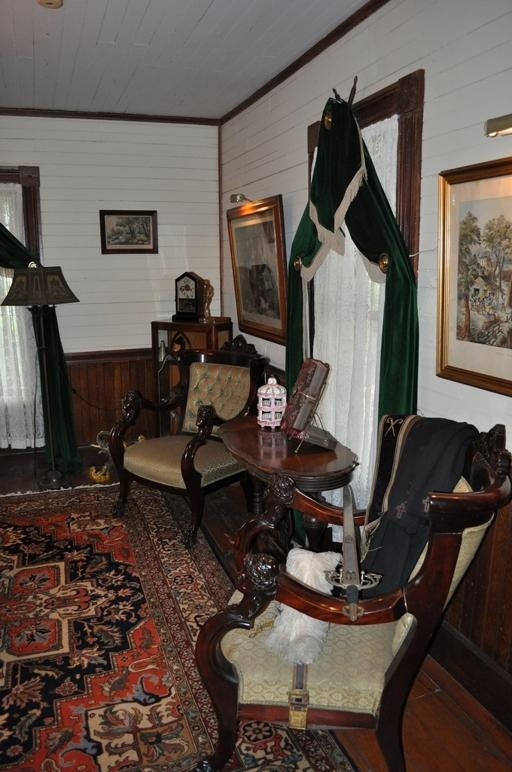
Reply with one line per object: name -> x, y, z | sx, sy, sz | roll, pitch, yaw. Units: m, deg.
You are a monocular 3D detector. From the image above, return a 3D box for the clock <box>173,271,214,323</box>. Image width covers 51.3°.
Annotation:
clock -> -0.666, -0.925, 5.520 | 0.410, 0.494, 0.326 | 0, 8, 3

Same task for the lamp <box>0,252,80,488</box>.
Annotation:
lamp -> -1.992, -0.243, 4.991 | 0.595, 2.255, 0.871 | -4, 9, -23

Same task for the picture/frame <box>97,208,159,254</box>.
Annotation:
picture/frame -> -1.395, -1.686, 5.682 | 0.468, 0.377, 0.022 | -4, 10, -22
